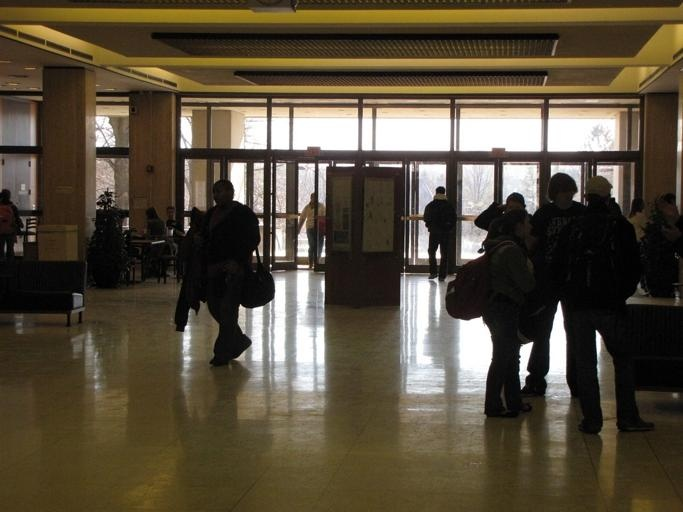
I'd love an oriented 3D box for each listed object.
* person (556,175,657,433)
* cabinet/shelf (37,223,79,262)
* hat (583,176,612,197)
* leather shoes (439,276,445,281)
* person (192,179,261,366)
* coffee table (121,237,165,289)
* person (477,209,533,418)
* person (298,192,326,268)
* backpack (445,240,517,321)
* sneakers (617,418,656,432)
[{"bbox_3d":[1.905,0.338,4.650,0.698,1.852,0.401,2,4,25],"label":"person"},{"bbox_3d":[-5.714,-0.257,12.611,0.792,0.830,0.812,0,1,10],"label":"cabinet/shelf"},{"bbox_3d":[1.951,-0.539,4.801,0.149,0.122,0.203,8,16,29],"label":"hat"},{"bbox_3d":[2.326,0.512,14.678,0.082,0.150,0.156,2,1,19],"label":"leather shoes"},{"bbox_3d":[-1.174,0.157,6.721,0.621,1.924,0.462,0,3,-5],"label":"person"},{"bbox_3d":[-4.484,0.028,14.580,0.766,0.999,3.082,-1,4,-15],"label":"coffee table"},{"bbox_3d":[1.338,0.441,5.087,0.397,1.630,0.469,1,3,12],"label":"person"},{"bbox_3d":[-0.800,-0.678,16.786,0.696,2.026,1.036,0,3,-3],"label":"person"},{"bbox_3d":[1.086,0.215,5.210,0.652,0.705,0.454,0,5,11],"label":"backpack"},{"bbox_3d":[2.132,1.225,4.632,0.281,0.118,0.102,-4,2,-7],"label":"sneakers"}]
